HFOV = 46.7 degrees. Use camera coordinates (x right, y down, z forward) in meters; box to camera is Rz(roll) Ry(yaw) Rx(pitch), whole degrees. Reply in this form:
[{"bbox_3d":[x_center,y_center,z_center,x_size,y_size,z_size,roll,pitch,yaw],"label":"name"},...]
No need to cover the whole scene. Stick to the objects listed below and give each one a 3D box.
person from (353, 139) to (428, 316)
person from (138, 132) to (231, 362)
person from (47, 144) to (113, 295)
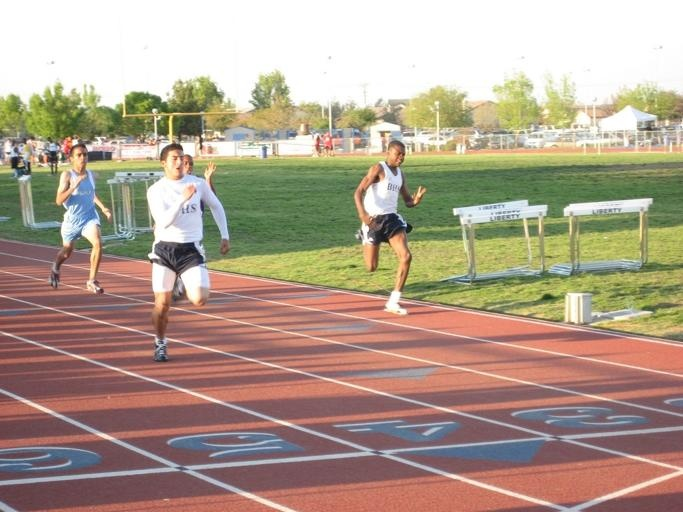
[{"bbox_3d":[0.760,-0.422,10.312,1.323,2.027,0.953,1,17,-14],"label":"person"},{"bbox_3d":[-1.533,-0.030,7.914,0.819,2.204,0.581,-3,7,-9],"label":"person"},{"bbox_3d":[-3.681,-0.524,11.081,0.871,2.092,0.895,-4,7,-14],"label":"person"}]
